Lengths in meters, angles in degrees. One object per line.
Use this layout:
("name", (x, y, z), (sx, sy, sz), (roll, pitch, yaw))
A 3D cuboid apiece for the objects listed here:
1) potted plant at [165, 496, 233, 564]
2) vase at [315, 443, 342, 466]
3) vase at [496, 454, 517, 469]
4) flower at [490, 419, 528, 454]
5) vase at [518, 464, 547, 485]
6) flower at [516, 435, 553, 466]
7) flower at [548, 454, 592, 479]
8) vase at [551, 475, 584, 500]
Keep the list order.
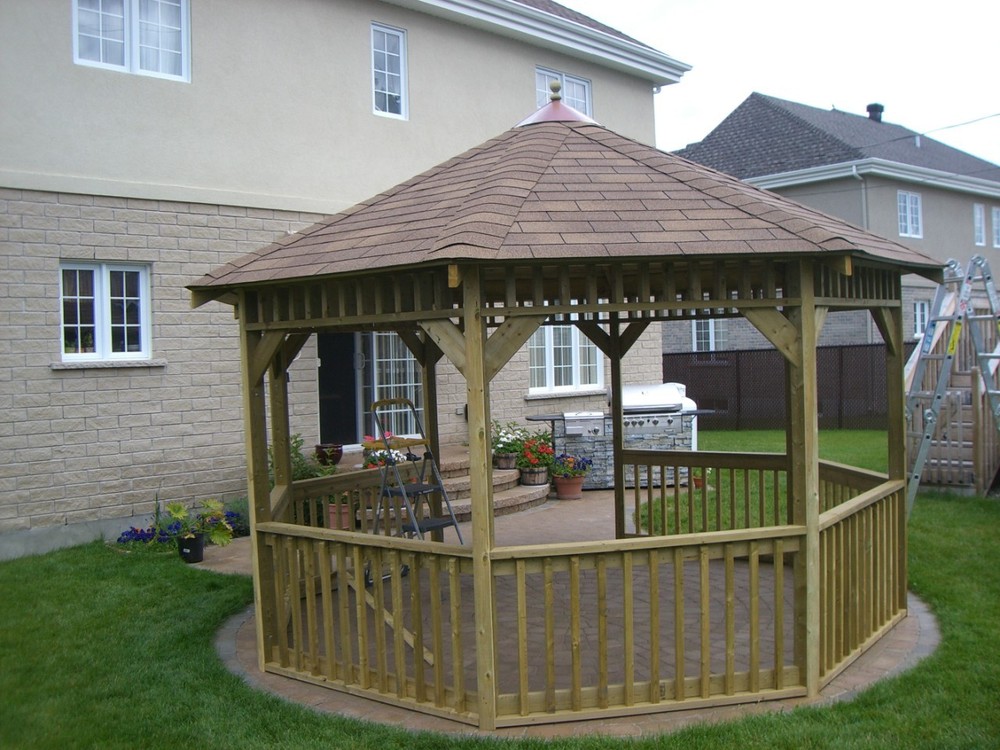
("potted plant", (-4.108, 2.065, 13.820), (0.800, 0.785, 0.830), (0, -2, -17))
("vase", (-2.609, 1.214, 15.615), (0.302, 0.245, 0.323), (-1, -4, -3))
("vase", (0.097, 1.437, 17.023), (0.255, 0.215, 0.273), (0, -5, -3))
("flower", (0.109, 1.061, 17.519), (0.485, 0.388, 0.510), (0, 3, 3))
("vase", (0.533, 1.636, 16.922), (0.318, 0.217, 0.320), (3, -5, -36))
("flower", (0.569, 1.284, 17.262), (0.441, 0.491, 0.464), (1, 2, -8))
("flower", (1.148, 1.547, 17.193), (0.635, 0.326, 0.701), (-1, 10, 2))
("vase", (1.112, 1.862, 17.027), (0.362, 0.287, 0.389), (-1, -8, 0))
